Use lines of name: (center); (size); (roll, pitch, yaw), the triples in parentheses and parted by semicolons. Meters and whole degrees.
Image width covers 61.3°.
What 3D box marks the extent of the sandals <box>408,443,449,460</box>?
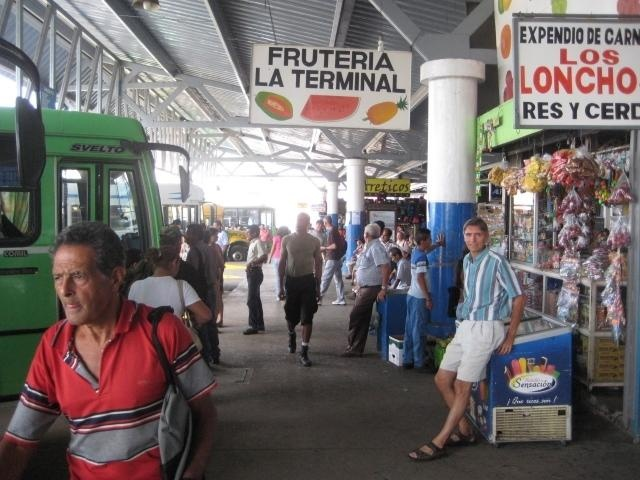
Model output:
sandals: (1.097, 2.107, 5.407); (0.313, 0.129, 0.166); (0, 1, -11)

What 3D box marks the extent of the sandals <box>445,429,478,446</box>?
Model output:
sandals: (1.499, 2.088, 5.780); (0.347, 0.159, 0.161); (3, -1, -4)

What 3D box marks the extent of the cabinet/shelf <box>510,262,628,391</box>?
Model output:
cabinet/shelf: (3.009, 1.053, 6.379); (0.435, 0.921, 1.545); (3, 8, 0)
